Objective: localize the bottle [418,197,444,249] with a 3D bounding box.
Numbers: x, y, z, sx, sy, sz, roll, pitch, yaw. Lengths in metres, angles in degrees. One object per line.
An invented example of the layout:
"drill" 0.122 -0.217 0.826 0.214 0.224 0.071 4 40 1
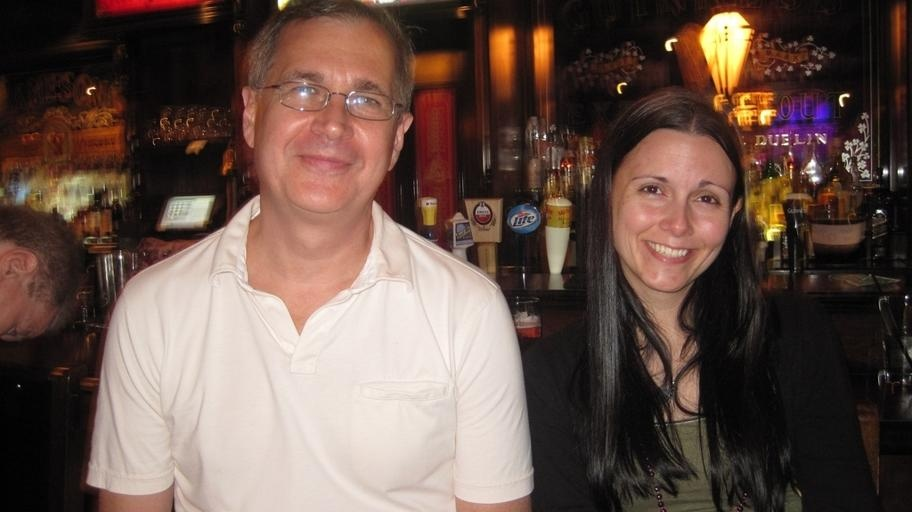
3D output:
"bottle" -0.105 -0.219 5.099 0.175 0.363 0.156 -4 4 -17

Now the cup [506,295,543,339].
"cup" 0.525 0.409 4.597 0.264 0.237 0.254 -5 -2 0
